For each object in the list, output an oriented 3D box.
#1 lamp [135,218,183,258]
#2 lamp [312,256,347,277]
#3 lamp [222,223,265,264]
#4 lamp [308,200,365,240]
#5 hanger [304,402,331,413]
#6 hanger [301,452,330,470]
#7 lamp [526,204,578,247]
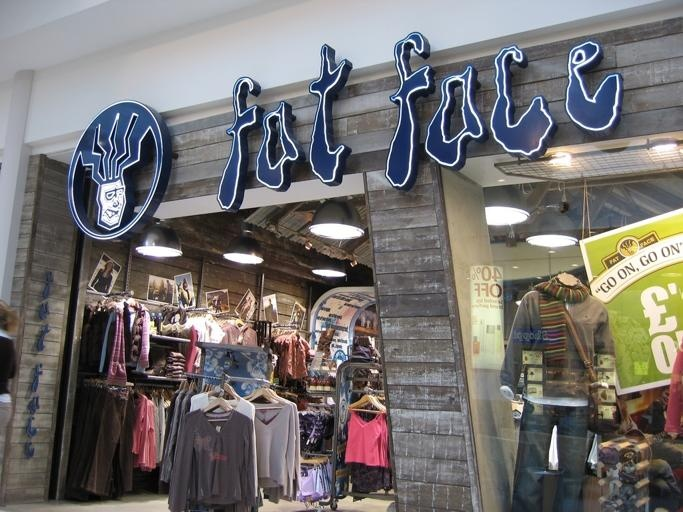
[{"bbox_3d":[-2.249,-0.246,7.037,0.549,0.424,0.538,1,-9,12],"label":"lamp"},{"bbox_3d":[-0.181,0.154,8.984,0.356,0.328,0.508,-11,-19,36],"label":"lamp"},{"bbox_3d":[-1.325,-0.233,7.640,0.530,0.563,0.539,2,-26,-14],"label":"lamp"},{"bbox_3d":[-0.072,-0.415,6.183,0.689,0.465,0.691,-1,-4,-9],"label":"lamp"},{"bbox_3d":[-0.316,2.010,7.480,0.310,0.094,0.317,1,-7,15],"label":"hanger"},{"bbox_3d":[-0.303,2.405,6.619,0.349,0.175,0.208,2,-16,-8],"label":"hanger"},{"bbox_3d":[1.550,-0.230,4.073,0.296,0.276,0.300,14,-5,6],"label":"lamp"}]
